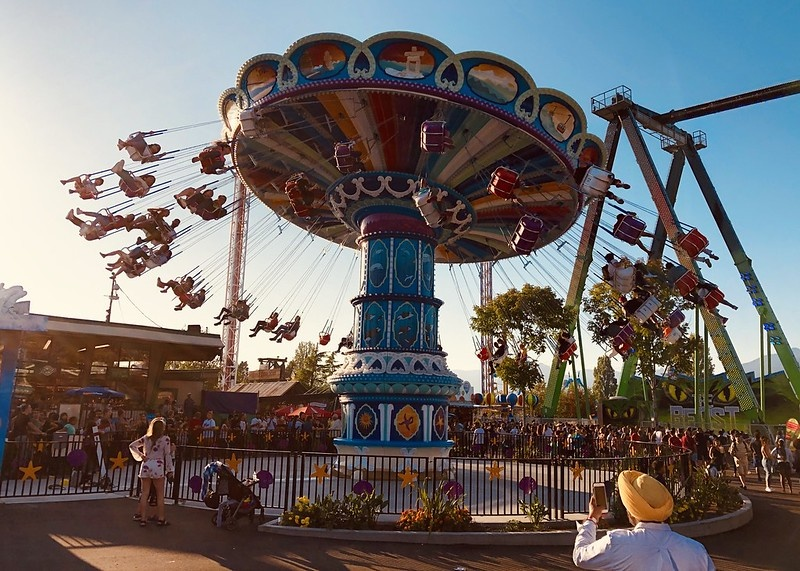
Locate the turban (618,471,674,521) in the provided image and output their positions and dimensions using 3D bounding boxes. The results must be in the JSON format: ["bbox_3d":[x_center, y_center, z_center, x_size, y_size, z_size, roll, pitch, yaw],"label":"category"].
[{"bbox_3d":[2.219,1.922,4.687,0.409,0.428,0.257,-4,-19,16],"label":"turban"}]
